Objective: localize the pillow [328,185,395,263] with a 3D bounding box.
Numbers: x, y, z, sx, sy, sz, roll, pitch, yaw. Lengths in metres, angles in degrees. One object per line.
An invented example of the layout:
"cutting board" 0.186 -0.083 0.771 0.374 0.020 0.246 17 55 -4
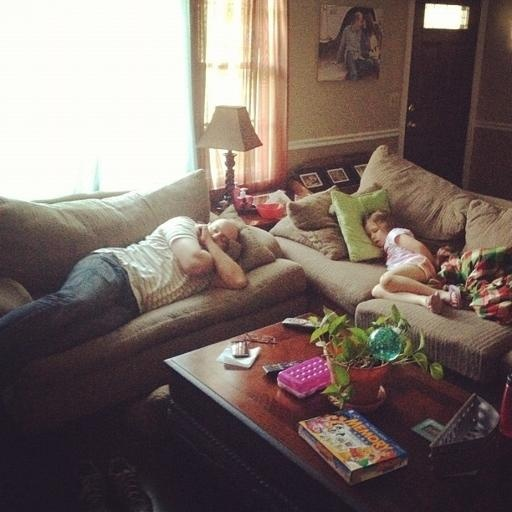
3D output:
"pillow" 0.585 -0.184 2.834 0.406 0.394 0.115 -9 -11 -26

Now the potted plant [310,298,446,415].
"potted plant" 0.324 0.275 1.491 0.369 0.270 0.375 1 14 -13
